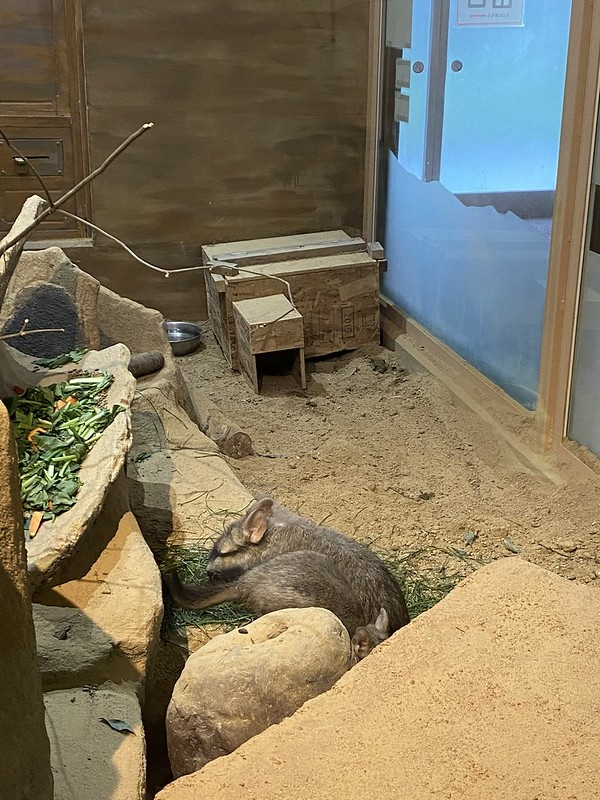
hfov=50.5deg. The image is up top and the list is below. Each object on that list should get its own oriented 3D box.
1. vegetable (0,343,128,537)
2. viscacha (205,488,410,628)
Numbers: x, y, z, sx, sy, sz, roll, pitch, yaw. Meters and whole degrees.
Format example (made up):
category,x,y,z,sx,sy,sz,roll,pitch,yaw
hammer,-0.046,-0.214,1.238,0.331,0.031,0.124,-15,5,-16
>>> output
category,x,y,z,sx,sy,sz,roll,pitch,yaw
vegetable,-1.088,0.251,3.030,0.629,0.160,0.925,-13,38,11
viscacha,-0.015,0.797,3.065,0.931,0.461,0.493,32,27,9
